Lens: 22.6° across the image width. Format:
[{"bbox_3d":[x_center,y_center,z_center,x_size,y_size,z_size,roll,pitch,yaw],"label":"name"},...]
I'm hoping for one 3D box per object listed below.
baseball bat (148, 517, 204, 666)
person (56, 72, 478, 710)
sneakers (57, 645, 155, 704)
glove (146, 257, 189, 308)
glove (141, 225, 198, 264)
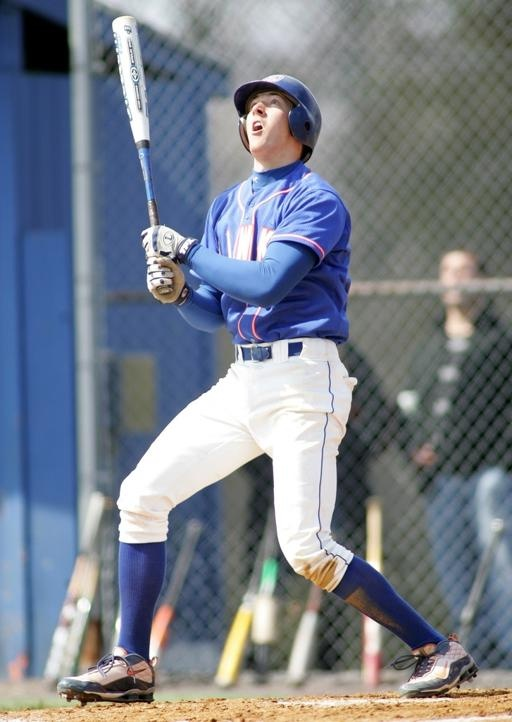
[{"bbox_3d":[-0.351,1.004,5.675,0.120,0.107,0.747,15,50,16],"label":"baseball bat"},{"bbox_3d":[0.075,0.088,3.778,1.044,1.862,0.621,6,8,7],"label":"person"},{"bbox_3d":[-0.413,0.920,3.765,0.313,0.150,0.124,5,-28,-17],"label":"sneakers"},{"bbox_3d":[-0.249,-0.244,3.824,0.052,0.137,0.106,-42,1,-35],"label":"glove"},{"bbox_3d":[-0.251,-0.338,3.799,0.149,0.103,0.064,-3,-10,10],"label":"glove"}]
